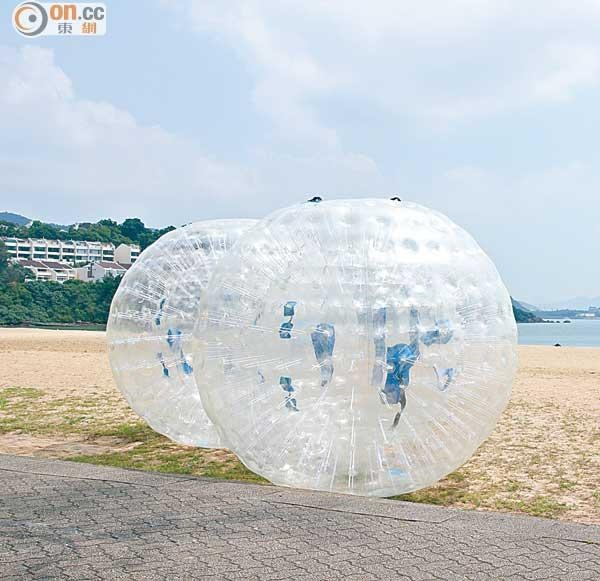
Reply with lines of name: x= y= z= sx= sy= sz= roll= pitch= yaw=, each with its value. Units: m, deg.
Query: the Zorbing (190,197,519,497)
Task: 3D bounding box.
Zorbing: x=0.331 y=0.469 z=7.486 sx=2.865 sy=2.397 sz=2.773 roll=0 pitch=1 yaw=32

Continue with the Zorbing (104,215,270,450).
Zorbing: x=-1.491 y=0.436 z=9.472 sx=2.731 sy=2.461 sz=2.408 roll=-2 pitch=-5 yaw=-6
